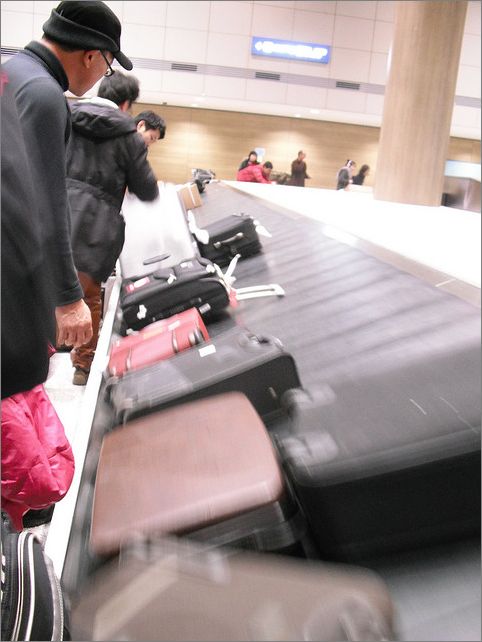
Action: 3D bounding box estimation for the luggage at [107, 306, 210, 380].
[{"bbox_3d":[-0.275,0.085,1.353,0.321,0.083,0.303,-19,18,17],"label":"luggage"}]

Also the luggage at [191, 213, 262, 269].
[{"bbox_3d":[-0.063,-0.453,2.505,0.343,0.213,0.334,-19,0,8],"label":"luggage"}]

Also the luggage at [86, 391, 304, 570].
[{"bbox_3d":[-0.056,0.179,0.463,0.162,0.049,0.167,-16,27,-5],"label":"luggage"}]

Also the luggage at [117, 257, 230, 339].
[{"bbox_3d":[-0.260,-0.085,1.638,0.427,0.163,0.405,-8,23,25],"label":"luggage"}]

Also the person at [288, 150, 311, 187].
[{"bbox_3d":[1.551,-3.851,10.500,0.644,0.905,0.546,-11,8,-35],"label":"person"}]
